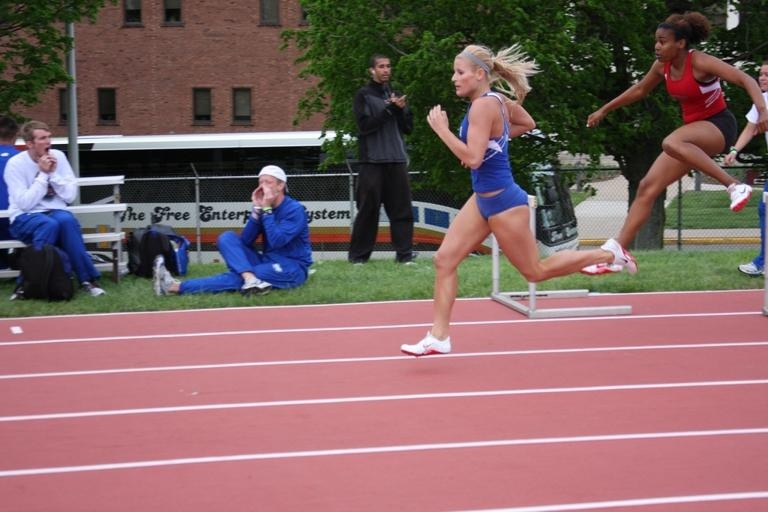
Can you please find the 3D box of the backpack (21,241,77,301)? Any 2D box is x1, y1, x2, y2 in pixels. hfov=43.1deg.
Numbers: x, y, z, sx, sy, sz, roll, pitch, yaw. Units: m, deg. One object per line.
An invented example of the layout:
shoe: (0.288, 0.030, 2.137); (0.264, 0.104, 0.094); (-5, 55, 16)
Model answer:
backpack: (-4.397, 0.226, 12.663); (0.660, 0.705, 0.264); (0, 8, -12)

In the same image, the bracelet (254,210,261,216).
bracelet: (-1.692, -0.568, 13.011); (0.097, 0.081, 0.079); (4, -1, -11)

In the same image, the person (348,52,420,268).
person: (0.002, -1.365, 14.426); (1.303, 3.019, 0.895); (0, 2, -24)

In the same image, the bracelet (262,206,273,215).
bracelet: (-1.540, -0.606, 12.900); (0.120, 0.098, 0.097); (0, 8, -11)

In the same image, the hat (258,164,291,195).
hat: (-1.474, -1.021, 13.037); (0.298, 0.355, 0.505); (3, 8, 10)
